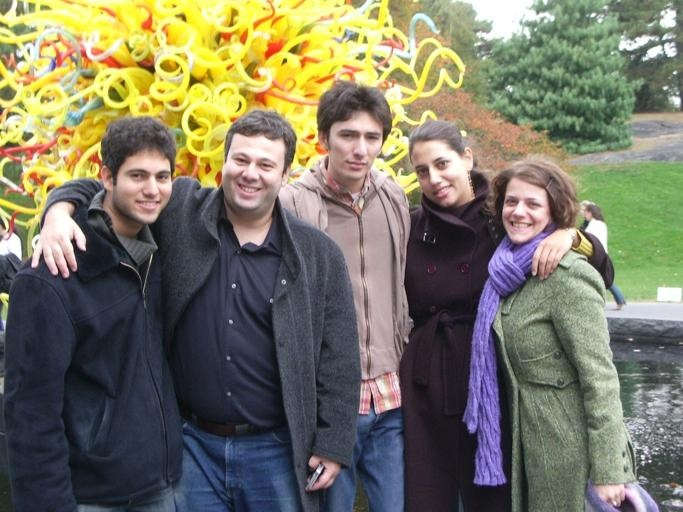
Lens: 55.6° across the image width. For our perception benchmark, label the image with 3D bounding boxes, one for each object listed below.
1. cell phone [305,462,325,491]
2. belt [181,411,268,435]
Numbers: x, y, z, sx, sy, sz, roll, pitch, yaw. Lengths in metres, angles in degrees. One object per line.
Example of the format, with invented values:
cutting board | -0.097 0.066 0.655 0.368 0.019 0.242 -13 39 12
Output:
cell phone | -0.102 0.993 2.900 0.031 0.120 0.072 30 -16 41
belt | -0.470 0.754 2.880 0.342 0.093 0.058 -4 -3 4
